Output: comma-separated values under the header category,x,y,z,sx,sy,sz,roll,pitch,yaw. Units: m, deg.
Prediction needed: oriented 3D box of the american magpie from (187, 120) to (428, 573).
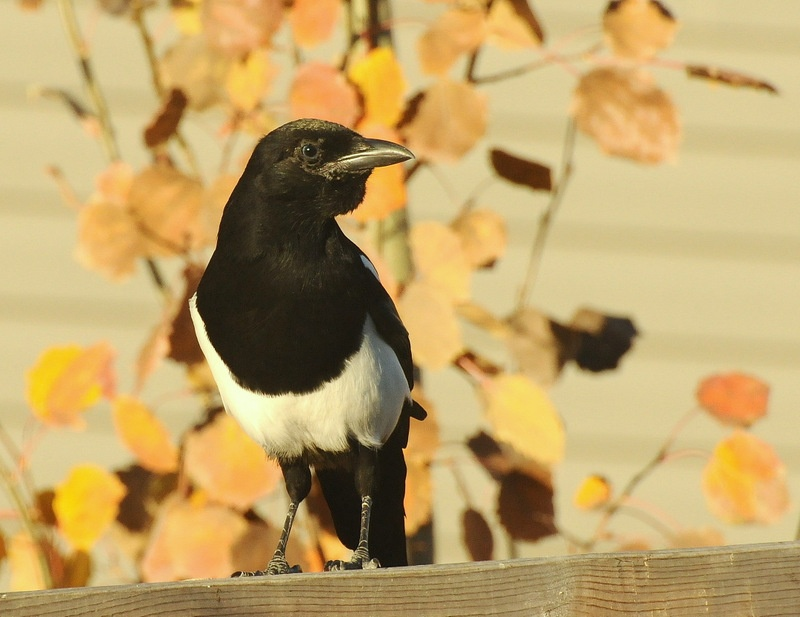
category,x,y,z,sx,sy,sz,roll,pitch,yaw
american magpie,-0.309,0.131,5.414,0.721,1.454,0.424,-2,11,0
